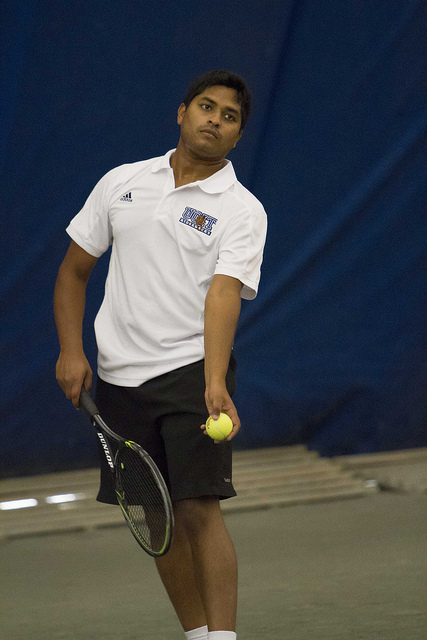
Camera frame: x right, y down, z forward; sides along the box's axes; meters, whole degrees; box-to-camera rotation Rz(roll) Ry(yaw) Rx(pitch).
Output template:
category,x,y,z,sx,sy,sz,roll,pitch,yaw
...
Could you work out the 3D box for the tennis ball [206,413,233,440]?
category,x,y,z,sx,sy,sz,roll,pitch,yaw
tennis ball,0.015,0.217,1.216,0.049,0.044,0.042,4,31,-30
